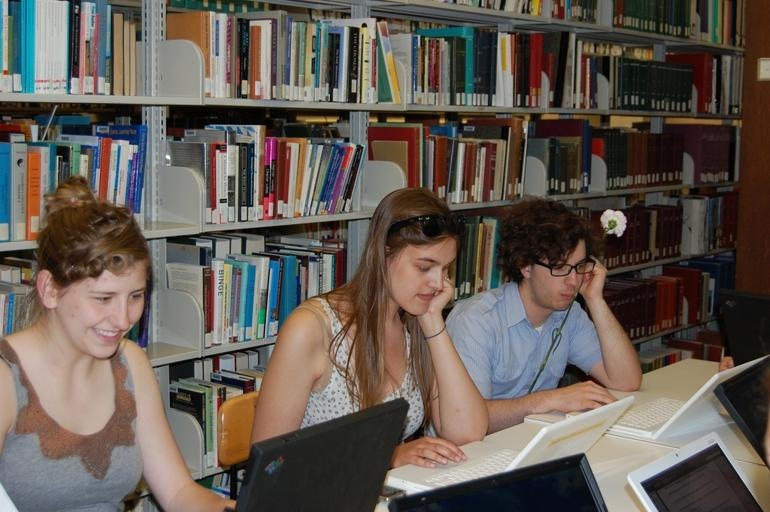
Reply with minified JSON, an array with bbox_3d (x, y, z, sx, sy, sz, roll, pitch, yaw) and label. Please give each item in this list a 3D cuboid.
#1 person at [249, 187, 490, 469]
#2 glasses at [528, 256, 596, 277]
[{"bbox_3d":[-0.038,0.255,2.507,0.802,1.095,0.771,5,15,4],"label":"person"},{"bbox_3d":[0.785,0.048,2.942,0.141,0.088,0.379,-1,4,44],"label":"glasses"}]
